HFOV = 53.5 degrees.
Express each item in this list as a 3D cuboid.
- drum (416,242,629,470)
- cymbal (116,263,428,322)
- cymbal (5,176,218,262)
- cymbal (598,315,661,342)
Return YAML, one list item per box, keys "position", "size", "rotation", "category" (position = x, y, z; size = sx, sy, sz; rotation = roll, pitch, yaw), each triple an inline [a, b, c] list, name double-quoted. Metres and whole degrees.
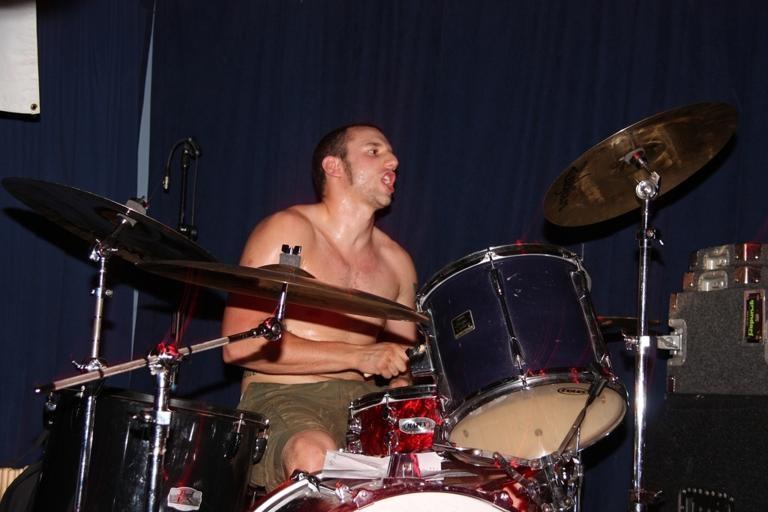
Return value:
- position: [0.497, 0.467, 3.368]
  size: [0.837, 0.689, 0.894]
  rotation: [-9, -36, -6]
  category: "drum"
- position: [-0.405, 0.150, 3.072]
  size: [1.156, 0.246, 0.363]
  rotation: [1, -16, -8]
  category: "cymbal"
- position: [-1.173, -0.094, 3.293]
  size: [0.846, 0.388, 0.463]
  rotation: [-3, -15, 6]
  category: "cymbal"
- position: [1.134, 0.341, 3.709]
  size: [0.244, 0.062, 0.266]
  rotation: [4, -21, 7]
  category: "cymbal"
